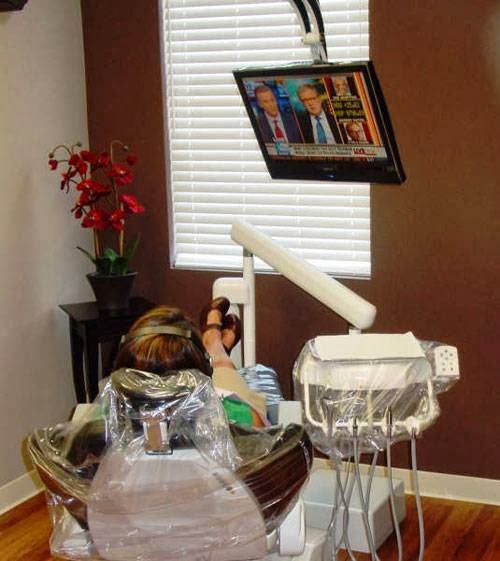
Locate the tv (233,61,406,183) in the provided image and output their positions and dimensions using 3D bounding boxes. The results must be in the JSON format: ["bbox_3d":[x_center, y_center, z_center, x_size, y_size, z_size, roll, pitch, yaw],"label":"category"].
[{"bbox_3d":[0.217,-0.454,1.617,0.520,0.448,0.159,7,35,35],"label":"tv"}]

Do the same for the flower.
[{"bbox_3d":[-0.579,-0.291,2.221,0.321,0.543,0.564,-9,6,-9],"label":"flower"}]

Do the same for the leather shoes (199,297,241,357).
[{"bbox_3d":[-0.091,0.138,1.834,0.081,0.227,0.061,11,15,21],"label":"leather shoes"}]

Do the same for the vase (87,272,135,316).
[{"bbox_3d":[-0.512,0.027,2.128,0.166,0.136,0.166,0,16,-9],"label":"vase"}]
